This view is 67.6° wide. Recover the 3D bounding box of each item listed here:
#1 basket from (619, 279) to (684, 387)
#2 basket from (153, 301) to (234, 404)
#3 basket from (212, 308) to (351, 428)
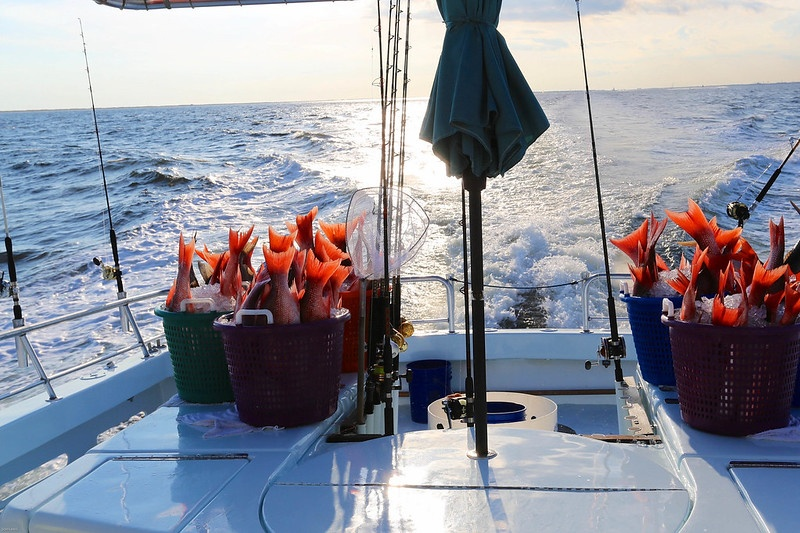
[{"bbox_3d":[1.179,0.324,2.971,0.381,0.368,0.378,-7,7,28],"label":"basket"},{"bbox_3d":[-0.863,0.390,2.842,0.435,0.391,0.419,-1,4,-1],"label":"basket"},{"bbox_3d":[-0.482,0.393,2.609,0.501,0.387,0.486,-1,3,-1],"label":"basket"}]
